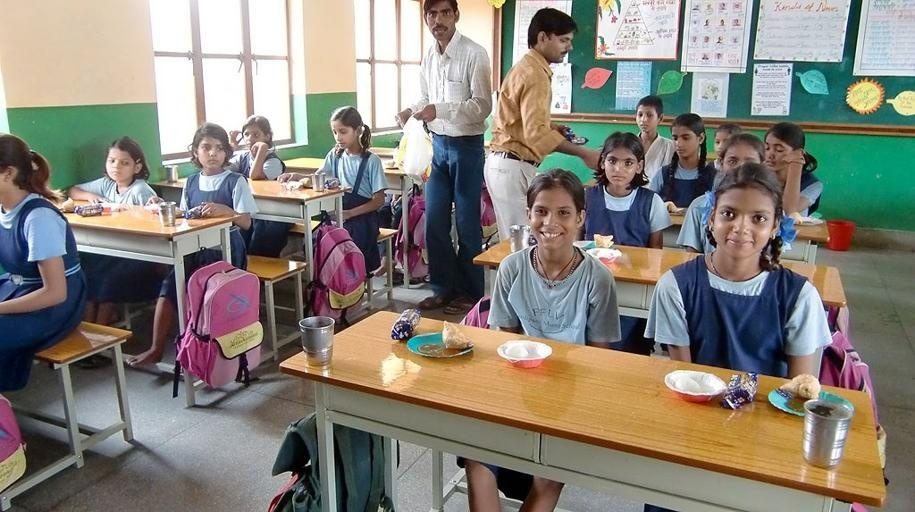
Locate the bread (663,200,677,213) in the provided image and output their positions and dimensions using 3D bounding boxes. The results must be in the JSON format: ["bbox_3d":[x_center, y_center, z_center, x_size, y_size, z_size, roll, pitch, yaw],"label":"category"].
[{"bbox_3d":[1.504,-0.341,4.227,0.131,0.036,0.089,-16,22,-26],"label":"bread"}]

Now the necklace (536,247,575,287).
[{"bbox_3d":[0.463,0.061,2.902,0.164,0.181,0.048,-1,-8,9],"label":"necklace"}]

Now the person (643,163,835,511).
[{"bbox_3d":[1.272,0.064,2.669,0.768,0.914,0.376,4,20,15],"label":"person"}]

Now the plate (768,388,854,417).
[{"bbox_3d":[1.305,0.570,2.294,0.158,0.023,0.150,-7,14,-30],"label":"plate"}]

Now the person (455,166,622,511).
[{"bbox_3d":[0.434,0.364,2.808,0.633,1.436,0.925,4,20,15],"label":"person"}]

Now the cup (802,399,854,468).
[{"bbox_3d":[1.329,0.647,2.146,0.152,0.209,0.136,6,20,20],"label":"cup"}]

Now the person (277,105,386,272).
[{"bbox_3d":[-1.057,-0.510,4.877,1.009,1.292,0.750,-5,15,-17],"label":"person"}]

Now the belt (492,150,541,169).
[{"bbox_3d":[0.402,-0.709,4.280,0.184,0.038,0.172,27,21,28],"label":"belt"}]

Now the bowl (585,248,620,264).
[{"bbox_3d":[0.844,-0.004,3.386,0.139,0.037,0.141,-2,11,0],"label":"bowl"}]

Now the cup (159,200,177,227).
[{"bbox_3d":[-1.821,-0.269,3.719,0.155,0.146,0.149,0,3,0],"label":"cup"}]

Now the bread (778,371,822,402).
[{"bbox_3d":[1.360,0.524,2.351,0.125,0.039,0.113,-7,15,9],"label":"bread"}]

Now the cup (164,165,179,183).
[{"bbox_3d":[-2.458,-0.695,5.052,0.126,0.133,0.116,3,24,-1],"label":"cup"}]

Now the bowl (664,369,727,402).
[{"bbox_3d":[0.946,0.521,2.375,0.152,0.036,0.150,-3,14,1],"label":"bowl"}]

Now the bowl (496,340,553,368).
[{"bbox_3d":[0.282,0.422,2.549,0.199,0.078,0.170,12,22,36],"label":"bowl"}]

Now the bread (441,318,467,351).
[{"bbox_3d":[-0.023,0.348,2.667,0.108,0.085,0.196,-4,18,-9],"label":"bread"}]

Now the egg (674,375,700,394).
[{"bbox_3d":[0.914,0.517,2.370,0.094,0.036,0.070,1,18,7],"label":"egg"}]

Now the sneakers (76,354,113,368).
[{"bbox_3d":[-2.539,0.750,4.129,0.126,0.038,0.150,3,13,11],"label":"sneakers"}]
